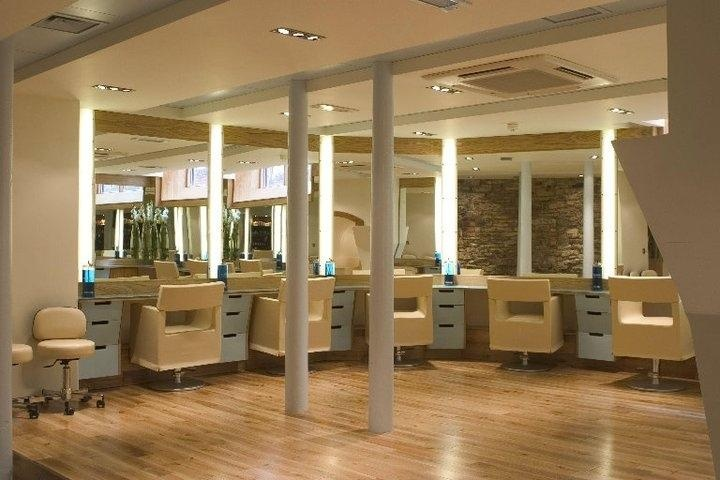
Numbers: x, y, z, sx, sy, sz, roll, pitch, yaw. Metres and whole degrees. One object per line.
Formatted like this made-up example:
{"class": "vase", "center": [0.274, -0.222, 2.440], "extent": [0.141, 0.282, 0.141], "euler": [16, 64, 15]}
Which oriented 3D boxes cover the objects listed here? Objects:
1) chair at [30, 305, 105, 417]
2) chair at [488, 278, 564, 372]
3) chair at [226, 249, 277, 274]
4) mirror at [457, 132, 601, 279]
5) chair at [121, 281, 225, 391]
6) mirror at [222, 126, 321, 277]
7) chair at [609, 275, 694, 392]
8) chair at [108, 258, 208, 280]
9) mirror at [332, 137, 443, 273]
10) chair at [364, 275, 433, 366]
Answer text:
{"class": "chair", "center": [-3.103, 1.238, 5.646], "extent": [0.724, 0.966, 0.704], "euler": [1, -1, -38]}
{"class": "chair", "center": [2.272, 1.121, 7.302], "extent": [0.849, 1.255, 0.946], "euler": [0, 1, 28]}
{"class": "chair", "center": [-1.693, 0.321, 8.205], "extent": [0.392, 0.477, 0.442], "euler": [2, 4, 31]}
{"class": "mirror", "center": [3.217, -0.660, 10.266], "extent": [2.649, 2.400, 0.185], "euler": [0, 4, -10]}
{"class": "chair", "center": [-2.197, 1.127, 6.470], "extent": [0.930, 1.118, 0.823], "euler": [3, -7, -44]}
{"class": "mirror", "center": [-1.514, -0.829, 8.853], "extent": [2.104, 1.729, 0.469], "euler": [0, 4, 16]}
{"class": "chair", "center": [3.473, 1.077, 6.388], "extent": [0.828, 1.324, 0.789], "euler": [0, 1, 31]}
{"class": "chair", "center": [-2.751, 0.387, 7.392], "extent": [1.243, 0.266, 0.518], "euler": [0, 0, -18]}
{"class": "mirror", "center": [0.407, -0.609, 8.189], "extent": [2.323, 2.037, 1.177], "euler": [1, 5, 25]}
{"class": "chair", "center": [0.548, 1.121, 7.690], "extent": [1.118, 1.261, 1.185], "euler": [-3, -3, 40]}
